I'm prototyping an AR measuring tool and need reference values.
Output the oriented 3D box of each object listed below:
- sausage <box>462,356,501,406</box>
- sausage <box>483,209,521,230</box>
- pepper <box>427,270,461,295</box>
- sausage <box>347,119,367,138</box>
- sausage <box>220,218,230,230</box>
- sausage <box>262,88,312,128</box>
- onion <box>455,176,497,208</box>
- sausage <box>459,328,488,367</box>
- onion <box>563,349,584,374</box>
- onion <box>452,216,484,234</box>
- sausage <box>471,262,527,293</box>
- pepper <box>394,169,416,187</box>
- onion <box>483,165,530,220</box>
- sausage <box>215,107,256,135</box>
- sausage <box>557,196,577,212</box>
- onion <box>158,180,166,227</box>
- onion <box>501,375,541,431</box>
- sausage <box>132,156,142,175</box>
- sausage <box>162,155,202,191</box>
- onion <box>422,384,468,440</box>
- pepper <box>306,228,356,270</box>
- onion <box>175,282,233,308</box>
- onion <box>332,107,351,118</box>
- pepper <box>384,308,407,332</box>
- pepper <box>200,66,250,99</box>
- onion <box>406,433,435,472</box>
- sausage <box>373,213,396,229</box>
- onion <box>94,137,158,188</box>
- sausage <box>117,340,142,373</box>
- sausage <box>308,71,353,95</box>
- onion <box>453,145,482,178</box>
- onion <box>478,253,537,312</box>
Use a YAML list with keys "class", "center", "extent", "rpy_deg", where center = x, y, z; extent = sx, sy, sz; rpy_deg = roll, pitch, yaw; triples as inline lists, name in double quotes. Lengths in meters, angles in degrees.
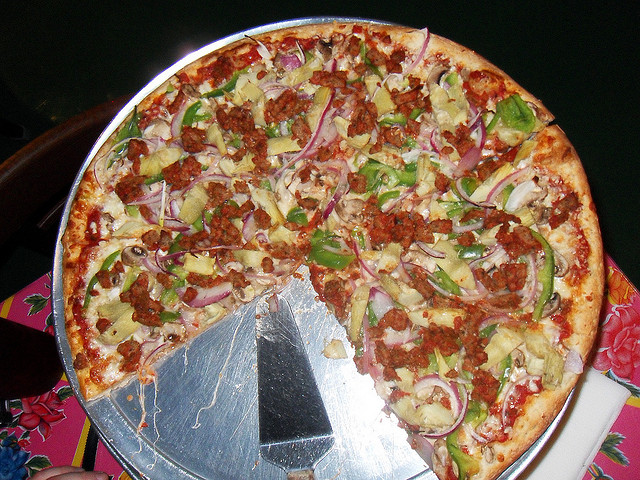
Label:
- class: "sausage"
  center: [0.941, 0.829, 3.609]
  extent: [0.170, 0.077, 0.298]
  rpy_deg: [-23, 90, 18]
- class: "sausage"
  center: [1.051, -0.125, 3.669]
  extent: [0.156, 0.050, 0.124]
  rpy_deg: [4, 95, 3]
- class: "pepper"
  center: [0.752, 0.262, 3.749]
  extent: [0.169, 0.040, 0.111]
  rpy_deg: [40, 89, 14]
- class: "sausage"
  center: [0.226, -0.676, 3.840]
  extent: [0.116, 0.069, 0.123]
  rpy_deg: [18, 83, 3]
- class: "sausage"
  center: [-0.585, -0.098, 3.849]
  extent: [0.059, 0.024, 0.060]
  rpy_deg: [26, 84, 3]
- class: "sausage"
  center: [-0.212, -0.830, 3.901]
  extent: [0.260, 0.071, 0.195]
  rpy_deg: [-28, 96, -5]
- class: "onion"
  center: [0.923, -0.267, 3.755]
  extent: [0.054, 0.169, 0.182]
  rpy_deg: [-40, 127, 8]
- class: "sausage"
  center: [0.899, 0.620, 3.632]
  extent: [0.135, 0.058, 0.212]
  rpy_deg: [40, 36, 8]
- class: "onion"
  center: [1.483, 0.715, 3.652]
  extent: [0.094, 0.048, 0.130]
  rpy_deg: [20, 84, 3]
- class: "onion"
  center: [0.887, -0.093, 3.759]
  extent: [0.182, 0.036, 0.105]
  rpy_deg: [-2, 83, 0]
- class: "sausage"
  center: [1.078, 0.224, 3.726]
  extent: [0.247, 0.045, 0.158]
  rpy_deg: [-13, 84, 17]
- class: "pepper"
  center: [0.515, -0.374, 3.835]
  extent: [0.132, 0.041, 0.089]
  rpy_deg: [10, 83, 1]
- class: "onion"
  center: [1.113, -0.270, 3.759]
  extent: [0.405, 0.040, 0.072]
  rpy_deg: [-44, 118, -7]
- class: "sausage"
  center: [-0.519, -0.747, 3.960]
  extent: [0.206, 0.057, 0.174]
  rpy_deg: [-8, 94, 1]
- class: "sausage"
  center: [1.478, -0.220, 3.764]
  extent: [0.116, 0.033, 0.070]
  rpy_deg: [-33, 84, -4]
- class: "onion"
  center: [-0.968, -0.221, 3.845]
  extent: [0.039, 0.020, 0.268]
  rpy_deg: [2, 79, 17]
- class: "onion"
  center: [1.125, 0.906, 3.635]
  extent: [0.115, 0.064, 0.349]
  rpy_deg: [36, 85, 4]
- class: "sausage"
  center: [-1.151, -0.465, 3.910]
  extent: [0.058, 0.021, 0.105]
  rpy_deg: [1, 89, 9]
- class: "sausage"
  center: [-0.850, -0.422, 3.863]
  extent: [0.226, 0.062, 0.164]
  rpy_deg: [-36, 78, -15]
- class: "onion"
  center: [0.754, 1.026, 3.625]
  extent: [0.135, 0.098, 0.371]
  rpy_deg: [36, 85, 5]
- class: "pepper"
  center: [0.054, 0.085, 3.936]
  extent: [0.324, 0.226, 0.225]
  rpy_deg: [-7, 106, -24]
- class: "onion"
  center: [-0.712, 0.341, 3.858]
  extent: [0.265, 0.058, 0.180]
  rpy_deg: [-8, 83, -5]
- class: "onion"
  center: [0.134, -0.779, 3.929]
  extent: [0.073, 0.023, 0.077]
  rpy_deg: [28, 81, 6]
- class: "pepper"
  center: [0.457, 0.465, 3.707]
  extent: [0.116, 0.045, 0.138]
  rpy_deg: [-44, 85, -5]
- class: "pepper"
  center: [-0.635, -1.023, 4.038]
  extent: [0.299, 0.233, 0.192]
  rpy_deg: [-20, 118, -39]
- class: "onion"
  center: [0.600, 1.225, 3.695]
  extent: [0.307, 0.034, 0.104]
  rpy_deg: [48, 54, -27]
- class: "sausage"
  center: [0.393, -0.115, 3.799]
  extent: [0.138, 0.047, 0.083]
  rpy_deg: [-2, 83, 0]
- class: "onion"
  center: [-1.269, -0.547, 3.968]
  extent: [0.316, 0.375, 0.297]
  rpy_deg: [15, 118, 35]
- class: "sausage"
  center: [-1.242, 0.733, 3.902]
  extent: [0.057, 0.218, 0.169]
  rpy_deg: [45, 55, -4]
- class: "sausage"
  center: [0.059, -0.996, 3.913]
  extent: [0.164, 0.024, 0.187]
  rpy_deg: [35, 56, 18]
- class: "onion"
  center: [0.891, -0.470, 3.845]
  extent: [0.107, 0.063, 0.251]
  rpy_deg: [31, 98, -1]
- class: "onion"
  center: [1.132, 0.222, 3.826]
  extent: [0.396, 0.227, 0.301]
  rpy_deg: [0, 105, 0]
